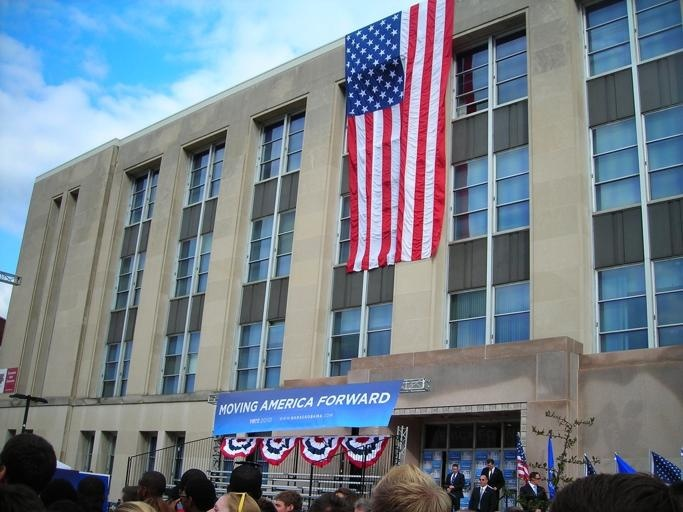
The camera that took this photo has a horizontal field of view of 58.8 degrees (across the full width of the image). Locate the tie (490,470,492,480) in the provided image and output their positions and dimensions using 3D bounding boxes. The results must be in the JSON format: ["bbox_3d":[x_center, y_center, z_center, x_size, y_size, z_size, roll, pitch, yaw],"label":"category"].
[{"bbox_3d":[4.046,5.939,16.392,0.049,0.235,0.064,-15,-41,40],"label":"tie"}]

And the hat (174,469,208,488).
[{"bbox_3d":[-1.620,2.394,6.555,0.321,0.253,0.455,7,-17,-25],"label":"hat"}]
